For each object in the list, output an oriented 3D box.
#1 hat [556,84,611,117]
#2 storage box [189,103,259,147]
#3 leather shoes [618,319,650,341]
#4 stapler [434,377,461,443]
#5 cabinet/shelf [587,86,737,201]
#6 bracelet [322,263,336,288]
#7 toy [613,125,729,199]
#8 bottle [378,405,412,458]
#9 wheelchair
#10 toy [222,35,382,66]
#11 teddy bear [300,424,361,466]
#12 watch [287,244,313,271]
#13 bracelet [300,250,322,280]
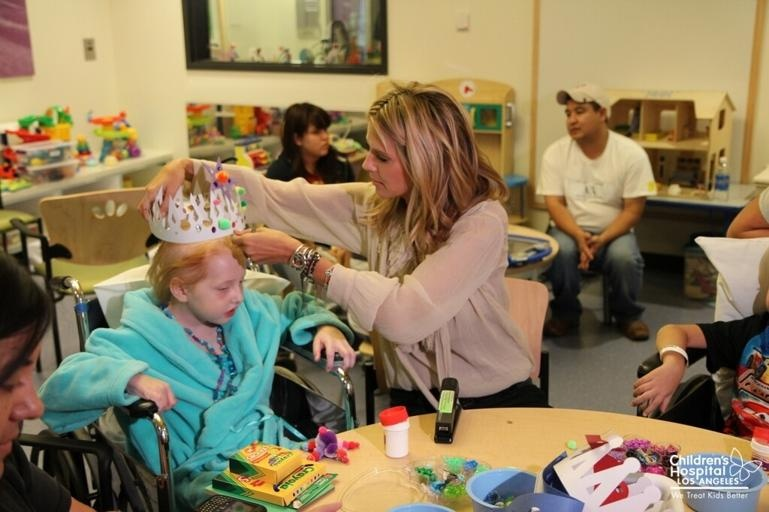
[{"bbox_3d":[1.408,-1.108,4.021,0.344,0.179,0.219,20,6,-22],"label":"hat"},{"bbox_3d":[-1.514,-1.250,5.420,0.465,0.296,0.459,15,22,37],"label":"storage box"},{"bbox_3d":[1.668,0.492,3.889,0.101,0.081,0.187,-5,10,-16],"label":"leather shoes"},{"bbox_3d":[0.203,0.465,1.748,0.056,0.106,0.191,1,31,10],"label":"stapler"},{"bbox_3d":[2.001,-0.790,4.541,1.186,1.171,0.729,8,18,32],"label":"cabinet/shelf"},{"bbox_3d":[-0.190,0.067,1.977,0.019,0.065,0.055,15,4,-6],"label":"bracelet"},{"bbox_3d":[2.103,-0.665,4.314,0.866,0.658,0.481,5,14,32],"label":"toy"},{"bbox_3d":[0.029,0.487,1.666,0.078,0.137,0.114,-2,16,2],"label":"bottle"},{"bbox_3d":[-0.603,0.480,2.050,0.649,0.790,1.166,9,11,35],"label":"wheelchair"},{"bbox_3d":[-0.612,-1.692,4.893,1.223,0.204,0.055,4,17,20],"label":"toy"},{"bbox_3d":[-0.149,0.540,1.648,0.108,0.043,0.094,24,30,39],"label":"teddy bear"},{"bbox_3d":[-0.287,-0.006,2.093,0.084,0.087,0.082,25,58,22],"label":"watch"},{"bbox_3d":[-0.261,0.031,2.041,0.034,0.094,0.086,14,-4,-13],"label":"bracelet"}]
